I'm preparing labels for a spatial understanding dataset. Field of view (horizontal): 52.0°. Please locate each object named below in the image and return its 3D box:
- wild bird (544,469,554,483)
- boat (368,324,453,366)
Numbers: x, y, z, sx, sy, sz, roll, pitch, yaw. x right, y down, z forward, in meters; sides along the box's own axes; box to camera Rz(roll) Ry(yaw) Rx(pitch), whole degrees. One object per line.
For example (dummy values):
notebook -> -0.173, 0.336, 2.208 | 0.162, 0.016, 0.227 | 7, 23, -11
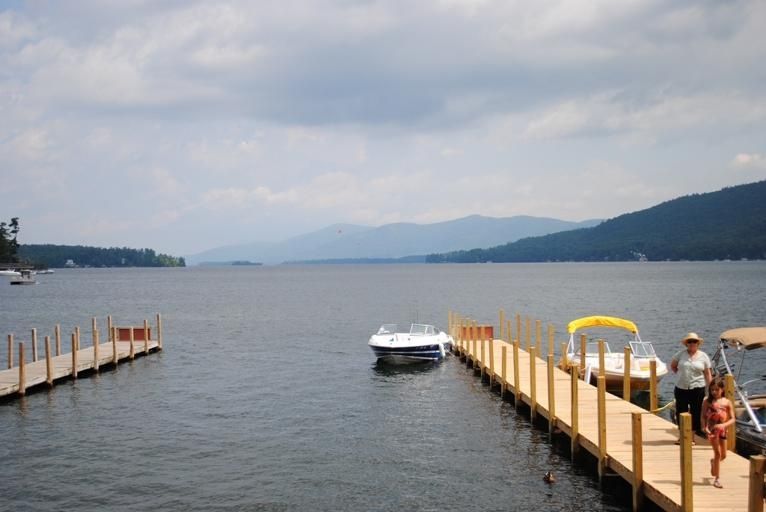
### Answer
wild bird -> 9.349, 12.588, 44.504 | 0.702, 0.633, 0.952 | -3, -1, 14
boat -> 2.324, 7.334, 65.133 | 6.972, 2.974, 3.320 | -2, -1, -44
